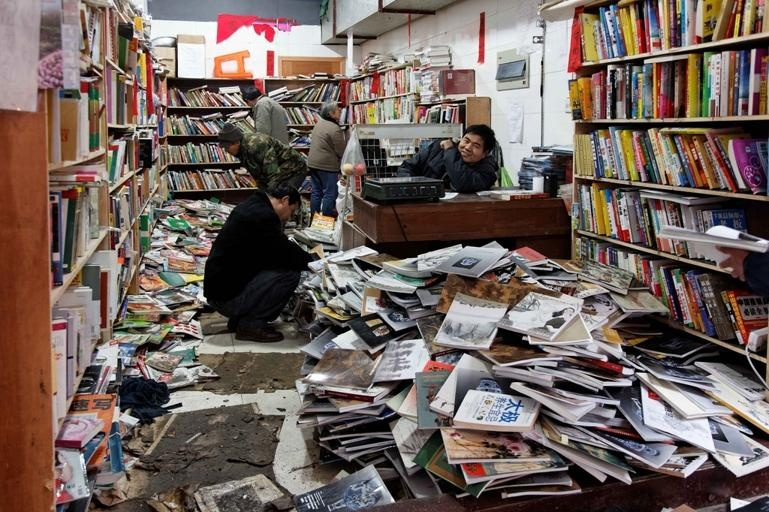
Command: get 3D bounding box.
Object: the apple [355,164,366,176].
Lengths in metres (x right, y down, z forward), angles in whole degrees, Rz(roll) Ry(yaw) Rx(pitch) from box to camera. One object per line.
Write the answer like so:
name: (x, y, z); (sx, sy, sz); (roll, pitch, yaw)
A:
apple: (-0.198, -0.781, 4.531); (0.127, 0.103, 0.110); (4, 11, 7)

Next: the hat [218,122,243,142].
hat: (-1.819, -1.465, 5.935); (0.260, 0.165, 0.294); (-3, 6, -6)

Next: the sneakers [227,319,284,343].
sneakers: (-1.046, 0.615, 4.177); (0.495, 0.167, 0.183); (0, 5, -8)

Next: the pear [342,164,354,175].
pear: (-0.350, -0.811, 4.698); (0.113, 0.055, 0.114); (1, 4, 3)
